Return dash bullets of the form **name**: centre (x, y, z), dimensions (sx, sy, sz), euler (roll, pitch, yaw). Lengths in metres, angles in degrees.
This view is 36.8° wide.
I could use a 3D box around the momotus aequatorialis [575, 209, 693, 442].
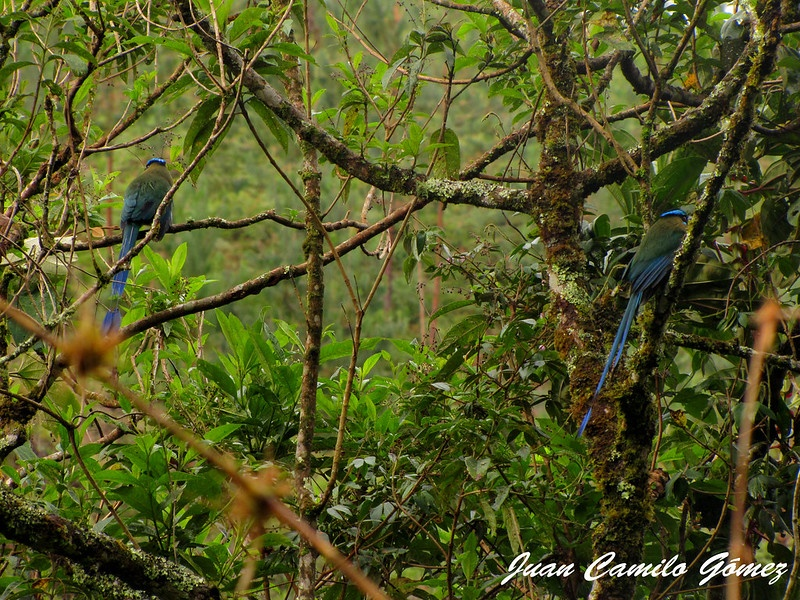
- **momotus aequatorialis**: centre (1.087, 0.114, 5.583), dimensions (0.155, 1.098, 0.288), euler (21, -4, 40)
